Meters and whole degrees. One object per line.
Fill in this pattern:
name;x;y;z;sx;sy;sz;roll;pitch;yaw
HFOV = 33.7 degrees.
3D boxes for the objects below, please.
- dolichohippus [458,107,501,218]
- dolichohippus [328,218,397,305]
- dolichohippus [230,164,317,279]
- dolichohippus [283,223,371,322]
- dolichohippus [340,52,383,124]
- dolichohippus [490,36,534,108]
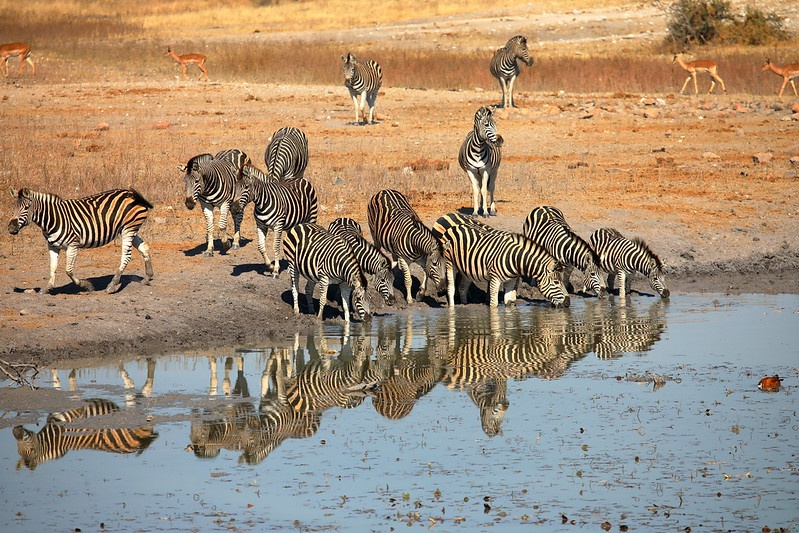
dolichohippus;1.794;-2.290;29.443;1.038;2.318;3.221;0;1;3
dolichohippus;-0.763;-0.042;25.965;0.397;1.614;0.842;-36;-1;-16
dolichohippus;-2.620;-0.970;27.289;0.991;2.283;3.104;4;7;26
dolichohippus;-1.403;0.191;25.861;1.057;1.689;2.963;-5;15;-34
dolichohippus;-1.171;-5.251;38.563;0.885;2.062;3.135;1;9;12
dolichohippus;3.315;-5.916;40.138;0.986;1.958;3.148;0;1;-16
